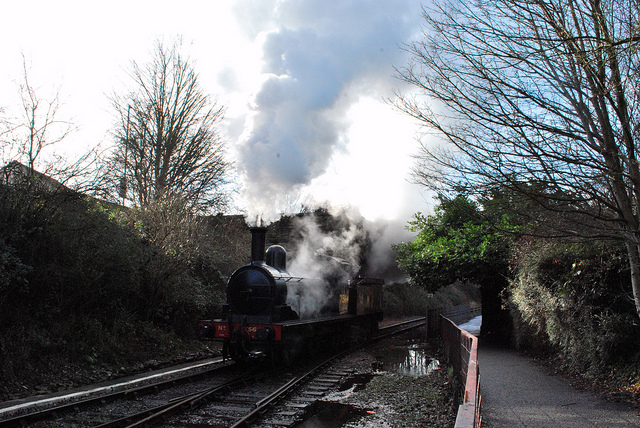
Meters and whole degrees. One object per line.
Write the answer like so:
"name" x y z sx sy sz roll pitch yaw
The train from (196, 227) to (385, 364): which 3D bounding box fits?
"train" -0.174 3.287 16.938 3.153 4.196 10.303 -5 -12 26
